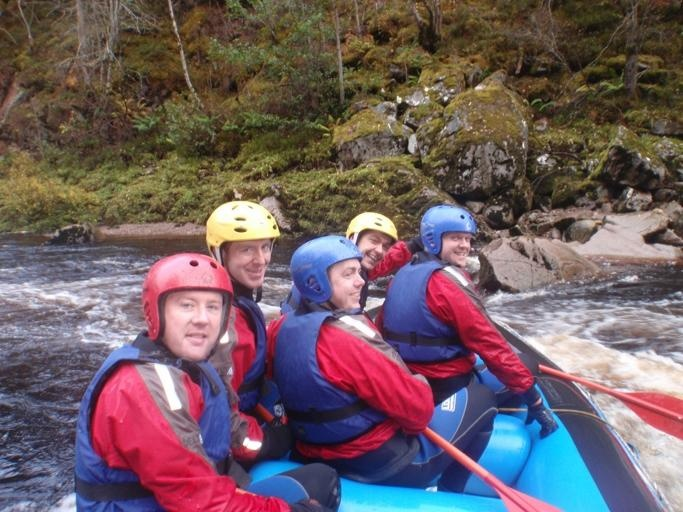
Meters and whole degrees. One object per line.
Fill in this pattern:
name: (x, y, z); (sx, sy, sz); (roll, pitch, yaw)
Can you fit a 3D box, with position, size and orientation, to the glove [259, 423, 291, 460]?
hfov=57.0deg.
glove: (-1.133, 3.299, 11.131); (0.666, 0.397, 0.285); (-36, 0, 14)
